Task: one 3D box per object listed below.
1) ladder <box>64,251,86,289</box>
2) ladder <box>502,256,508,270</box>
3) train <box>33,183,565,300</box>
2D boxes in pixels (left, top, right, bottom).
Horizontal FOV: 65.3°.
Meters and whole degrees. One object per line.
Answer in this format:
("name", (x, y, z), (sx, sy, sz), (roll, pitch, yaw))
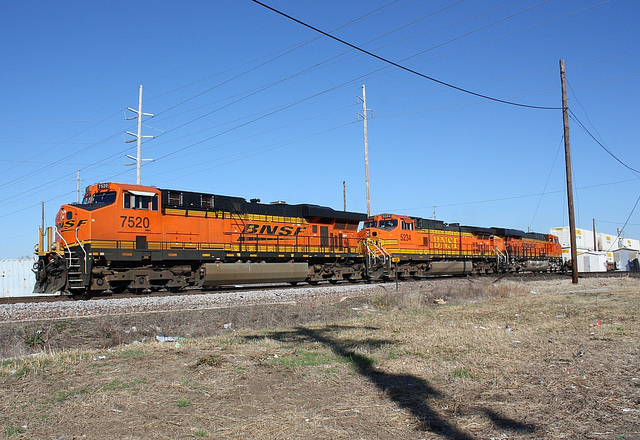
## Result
("ladder", (-9.587, 1.933, 19.437), (0.547, 1.327, 0.617), (0, 1, -34))
("ladder", (15.521, 3.588, 42.071), (0.387, 1.068, 0.649), (0, 1, 23))
("train", (0.833, 1.192, 28.851), (30.288, 5.452, 2.747), (0, 1, -39))
